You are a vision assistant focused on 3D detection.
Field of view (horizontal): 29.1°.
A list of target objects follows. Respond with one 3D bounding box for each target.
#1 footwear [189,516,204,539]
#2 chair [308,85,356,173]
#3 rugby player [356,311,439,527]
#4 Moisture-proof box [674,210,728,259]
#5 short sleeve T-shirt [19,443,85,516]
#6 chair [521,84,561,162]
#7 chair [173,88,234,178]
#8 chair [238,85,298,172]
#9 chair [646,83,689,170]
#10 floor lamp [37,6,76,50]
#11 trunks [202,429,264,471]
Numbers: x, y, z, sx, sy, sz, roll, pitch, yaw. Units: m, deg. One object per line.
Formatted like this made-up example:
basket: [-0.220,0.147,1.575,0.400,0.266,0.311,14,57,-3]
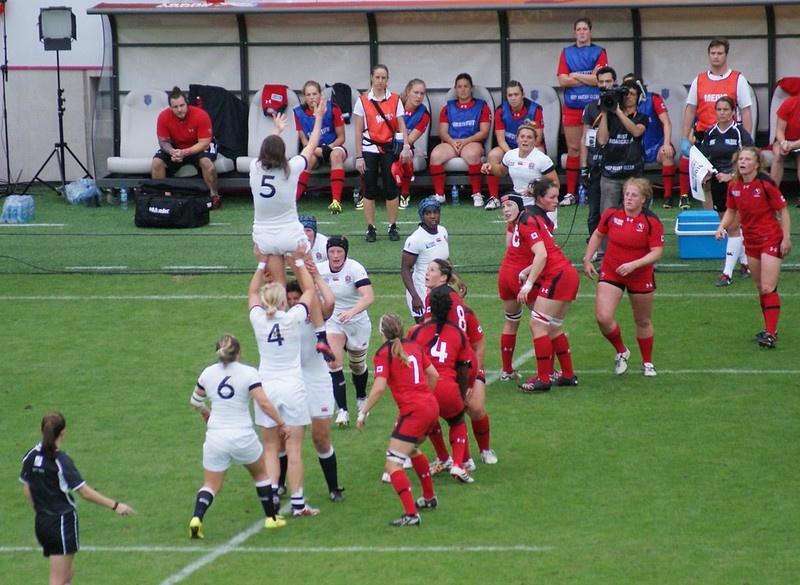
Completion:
footwear: [-2.304,2.718,17.651,0.106,0.315,0.149,0,32,-2]
chair: [-1.207,-2.994,28.136,0.712,1.491,1.485,-1,4,-1]
rugby player: [0.078,1.490,17.903,0.863,2.442,0.541,-1,4,-12]
Moisture-proof box: [4.957,-0.928,25.013,0.842,0.656,0.671,-1,8,26]
short sleeve T-shirt: [-3.867,2.150,17.198,0.767,0.799,0.338,7,20,20]
chair: [2.777,-3.247,28.487,0.857,1.421,1.141,-1,16,7]
chair: [-3.369,-3.080,29.036,0.844,1.662,0.885,2,5,37]
chair: [-2.416,-3.020,28.924,1.141,1.553,0.961,0,4,3]
chair: [5.073,-3.259,28.402,1.017,1.649,1.318,1,7,9]
floor lamp: [-6.568,-5.087,29.675,0.696,0.842,0.456,-1,4,-4]
trunks: [-1.903,1.835,17.645,0.711,0.538,0.418,0,21,-1]
